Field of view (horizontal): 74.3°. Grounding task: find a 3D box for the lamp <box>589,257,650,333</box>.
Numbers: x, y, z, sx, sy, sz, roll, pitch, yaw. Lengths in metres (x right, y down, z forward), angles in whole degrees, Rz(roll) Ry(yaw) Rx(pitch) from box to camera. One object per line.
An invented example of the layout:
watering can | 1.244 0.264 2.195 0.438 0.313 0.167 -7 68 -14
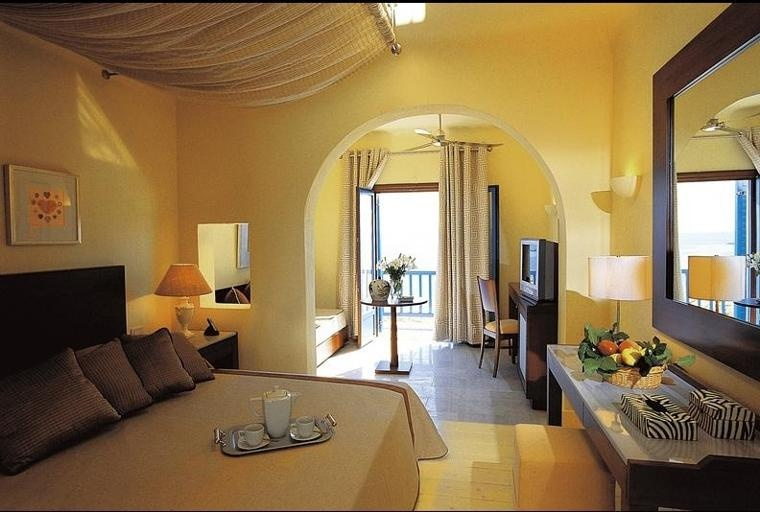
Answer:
lamp | 1.759 0.153 3.671 0.413 0.299 0.211 0 4 24

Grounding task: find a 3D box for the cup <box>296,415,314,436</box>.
cup | -0.485 1.103 3.242 0.112 0.074 0.089 -2 -1 11

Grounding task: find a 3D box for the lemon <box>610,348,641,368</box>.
lemon | 1.605 0.664 3.278 0.151 0.079 0.114 6 -14 -27

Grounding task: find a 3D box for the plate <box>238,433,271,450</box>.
plate | -0.802 1.176 3.166 0.207 0.040 0.139 -2 3 1

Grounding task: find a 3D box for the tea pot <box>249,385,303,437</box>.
tea pot | -0.689 1.021 3.285 0.312 0.313 0.187 -1 -1 -20

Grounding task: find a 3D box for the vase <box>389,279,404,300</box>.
vase | 0.206 0.444 6.573 0.243 0.339 0.212 0 -4 -4

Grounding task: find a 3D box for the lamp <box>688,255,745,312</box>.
lamp | 2.047 0.138 3.078 0.227 0.294 0.402 1 -1 19

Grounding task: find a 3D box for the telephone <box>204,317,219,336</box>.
telephone | -1.724 0.730 5.223 0.170 0.186 0.198 0 -3 -9

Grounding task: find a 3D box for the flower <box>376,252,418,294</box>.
flower | 0.271 0.237 6.820 0.560 0.627 0.616 -2 -2 39

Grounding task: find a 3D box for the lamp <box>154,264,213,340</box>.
lamp | -1.949 0.446 4.985 0.585 0.666 0.538 0 0 -29

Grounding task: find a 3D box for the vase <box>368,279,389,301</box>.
vase | -0.014 0.433 6.385 0.268 0.223 0.242 -3 3 -15

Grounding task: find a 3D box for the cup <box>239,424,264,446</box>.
cup | -0.821 1.140 3.191 0.135 0.085 0.105 -1 7 -6

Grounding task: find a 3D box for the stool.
stool | 1.169 1.390 3.227 0.530 0.367 0.510 0 2 11

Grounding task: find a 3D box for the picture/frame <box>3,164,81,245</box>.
picture/frame | -2.761 -0.414 4.056 0.074 0.685 0.708 -1 3 23

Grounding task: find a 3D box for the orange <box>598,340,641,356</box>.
orange | 1.593 0.610 3.348 0.194 0.078 0.117 -5 -6 24

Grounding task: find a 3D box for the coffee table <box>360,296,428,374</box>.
coffee table | 0.187 1.011 6.459 0.908 0.860 0.874 -1 -2 5

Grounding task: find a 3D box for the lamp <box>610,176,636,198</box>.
lamp | 2.038 -0.581 4.197 0.143 0.186 0.266 -1 3 9

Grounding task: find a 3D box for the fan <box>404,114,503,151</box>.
fan | 0.985 -1.815 7.094 1.143 0.439 1.029 8 33 8

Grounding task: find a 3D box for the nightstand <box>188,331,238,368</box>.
nightstand | -1.648 0.937 5.047 0.366 0.417 0.468 3 6 14
